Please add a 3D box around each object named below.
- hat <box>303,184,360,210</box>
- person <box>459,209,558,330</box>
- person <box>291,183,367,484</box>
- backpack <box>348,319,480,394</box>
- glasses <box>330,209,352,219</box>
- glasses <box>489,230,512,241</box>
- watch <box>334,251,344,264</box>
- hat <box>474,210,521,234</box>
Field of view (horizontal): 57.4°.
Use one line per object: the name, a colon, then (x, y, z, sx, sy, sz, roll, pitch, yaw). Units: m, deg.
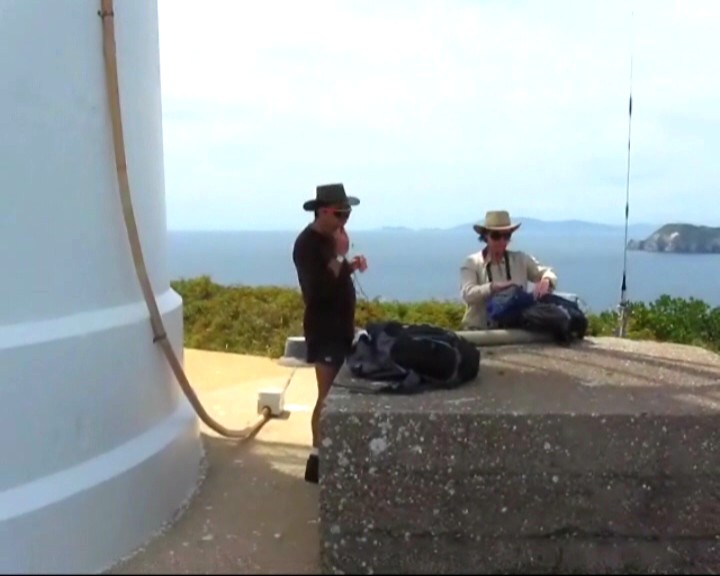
hat: (-0.226, -0.692, 5.028, 0.403, 0.181, 0.242, -4, 8, -4)
person: (1.287, 0.044, 5.874, 0.782, 1.484, 0.792, -2, 1, -18)
person: (-0.221, 0.412, 5.125, 0.541, 2.392, 0.425, -3, 7, -8)
backpack: (0.396, 0.474, 4.448, 0.599, 0.352, 0.520, 2, 7, -11)
glasses: (-0.130, -0.544, 4.909, 0.157, 0.103, 0.120, -7, 8, -23)
glasses: (1.242, -0.460, 5.874, 0.203, 0.088, 0.087, -2, 7, 10)
watch: (-0.156, -0.237, 4.905, 0.052, 0.063, 0.007, 24, -25, 16)
hat: (1.207, -0.575, 5.836, 0.386, 0.221, 0.501, -2, 8, 10)
